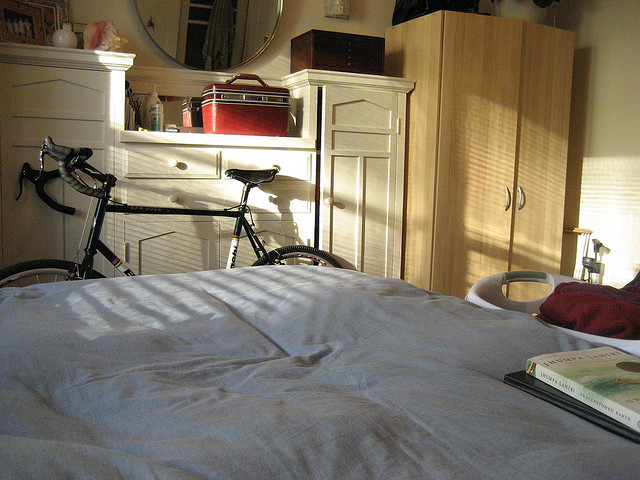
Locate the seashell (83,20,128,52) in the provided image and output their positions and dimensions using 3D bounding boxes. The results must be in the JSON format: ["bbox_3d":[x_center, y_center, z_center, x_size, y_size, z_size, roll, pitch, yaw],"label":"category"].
[{"bbox_3d":[-1.051,-1.003,2.626,0.190,0.158,0.125,-1,13,-22],"label":"seashell"}]

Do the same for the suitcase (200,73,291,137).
[{"bbox_3d":[-0.453,-0.751,3.047,0.344,0.333,0.531,1,8,42],"label":"suitcase"}]

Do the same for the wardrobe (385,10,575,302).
[{"bbox_3d":[1.050,-0.512,3.373,1.069,1.667,0.492,0,13,-16],"label":"wardrobe"}]
